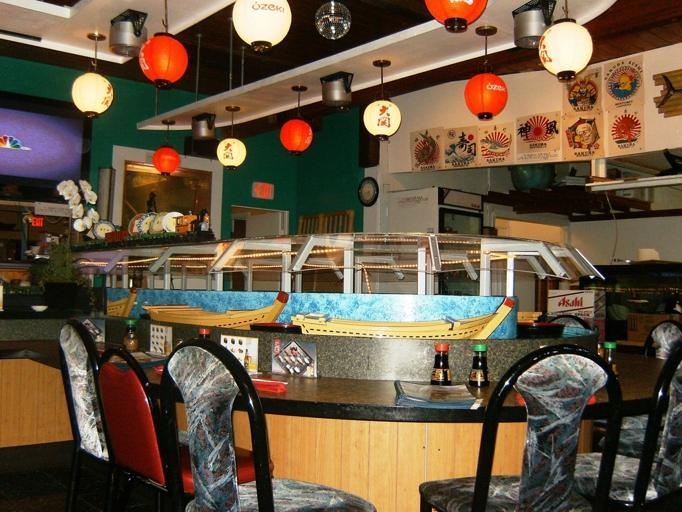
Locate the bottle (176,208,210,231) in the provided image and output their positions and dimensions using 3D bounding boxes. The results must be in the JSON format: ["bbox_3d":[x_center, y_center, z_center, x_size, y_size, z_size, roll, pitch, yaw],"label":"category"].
[{"bbox_3d":[-1.120,-0.273,4.720,0.157,0.186,0.464,0,-1,-30],"label":"bottle"}]

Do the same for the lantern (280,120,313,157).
[{"bbox_3d":[-0.459,-1.318,6.832,0.412,0.409,0.409,-1,5,17],"label":"lantern"}]

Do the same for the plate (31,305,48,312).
[{"bbox_3d":[-2.385,0.416,4.820,0.093,0.044,0.152,0,1,-35],"label":"plate"}]

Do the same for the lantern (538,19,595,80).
[{"bbox_3d":[1.601,-1.464,4.532,0.439,0.476,0.426,-2,0,13],"label":"lantern"}]

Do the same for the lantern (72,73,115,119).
[{"bbox_3d":[-2.402,-1.541,5.881,0.416,0.423,0.399,3,-3,18],"label":"lantern"}]

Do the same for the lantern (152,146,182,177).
[{"bbox_3d":[-2.165,-1.153,7.623,0.427,0.446,0.420,-1,8,6],"label":"lantern"}]

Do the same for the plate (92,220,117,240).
[{"bbox_3d":[-2.485,-0.277,6.376,0.225,0.175,0.326,0,1,-23],"label":"plate"}]

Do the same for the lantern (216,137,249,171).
[{"bbox_3d":[-1.374,-1.239,7.515,0.460,0.447,0.446,0,6,13],"label":"lantern"}]

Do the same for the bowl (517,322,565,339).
[{"bbox_3d":[1.158,0.429,3.515,0.273,0.076,0.098,0,1,-8],"label":"bowl"}]

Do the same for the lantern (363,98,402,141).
[{"bbox_3d":[0.436,-1.357,6.253,0.424,0.420,0.398,-1,2,7],"label":"lantern"}]

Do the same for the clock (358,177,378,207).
[{"bbox_3d":[0.404,-0.927,8.904,0.063,0.420,0.438,-3,6,-31],"label":"clock"}]

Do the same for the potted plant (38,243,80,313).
[{"bbox_3d":[-2.341,0.170,5.102,0.312,0.538,0.394,0,1,-25],"label":"potted plant"}]
